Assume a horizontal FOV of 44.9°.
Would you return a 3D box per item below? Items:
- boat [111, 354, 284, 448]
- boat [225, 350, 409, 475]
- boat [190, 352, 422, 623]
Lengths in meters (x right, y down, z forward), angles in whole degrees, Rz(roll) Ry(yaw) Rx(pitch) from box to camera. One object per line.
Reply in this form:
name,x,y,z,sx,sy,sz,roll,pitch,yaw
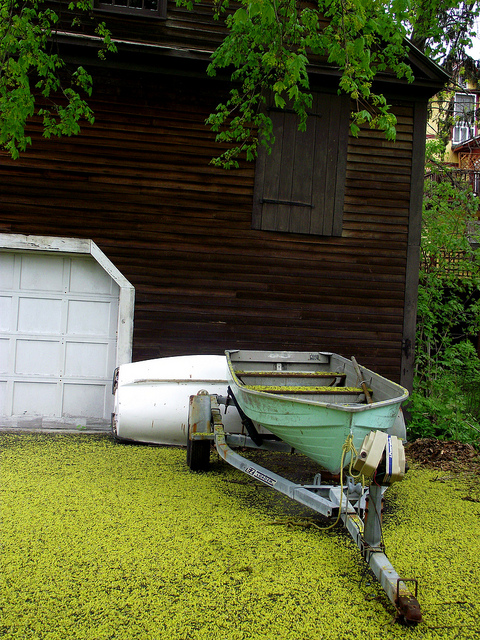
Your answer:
boat,-0.493,0.726,5.497,1.309,0.482,0.894,3,-2,-8
boat,0.515,0.651,4.375,1.256,0.547,2.458,3,6,-2
boat,0.444,0.917,3.892,1.001,0.653,1.910,1,7,-7
